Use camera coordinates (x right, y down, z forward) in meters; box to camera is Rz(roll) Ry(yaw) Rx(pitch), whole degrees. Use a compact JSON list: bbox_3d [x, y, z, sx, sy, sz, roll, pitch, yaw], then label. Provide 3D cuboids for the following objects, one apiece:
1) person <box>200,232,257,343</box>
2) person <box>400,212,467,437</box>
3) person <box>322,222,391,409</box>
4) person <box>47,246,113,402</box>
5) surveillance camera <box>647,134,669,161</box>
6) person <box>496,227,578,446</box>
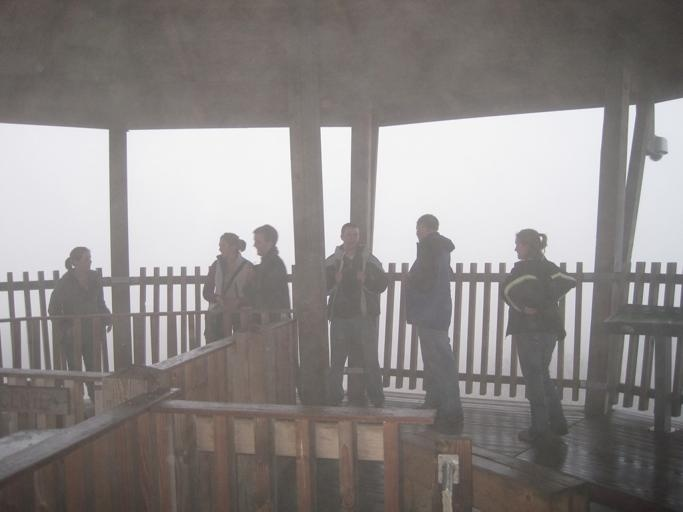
[{"bbox_3d":[-1.511,0.407,8.161,0.701,1.427,0.458,-2,0,32],"label":"person"},{"bbox_3d":[1.128,0.794,7.715,0.676,2.675,0.453,-2,0,11],"label":"person"},{"bbox_3d":[0.199,0.784,8.122,0.761,2.381,0.416,-2,0,1],"label":"person"},{"bbox_3d":[-3.582,0.880,8.514,0.791,2.097,1.090,-1,0,-27],"label":"person"},{"bbox_3d":[4.680,-1.606,9.225,0.277,0.437,0.403,3,10,19],"label":"surveillance camera"},{"bbox_3d":[2.283,0.914,7.234,0.695,2.442,0.502,-1,0,-29],"label":"person"}]
